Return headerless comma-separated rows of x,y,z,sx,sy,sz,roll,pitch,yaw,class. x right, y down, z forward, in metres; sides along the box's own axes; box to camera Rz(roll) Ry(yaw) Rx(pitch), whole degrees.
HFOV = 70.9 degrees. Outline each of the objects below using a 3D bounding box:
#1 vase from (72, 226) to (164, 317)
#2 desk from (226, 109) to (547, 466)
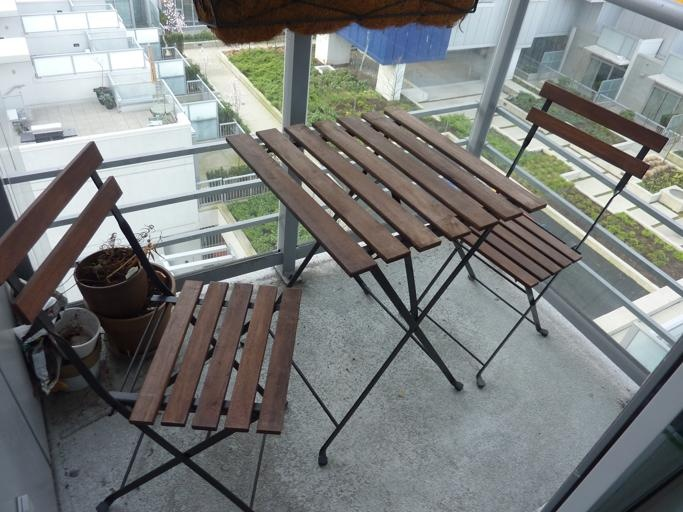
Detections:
-1.253,0.103,2.662,0.264,0.361,0.381,31,50,29,vase
0.308,-0.085,3.478,1.724,1.986,2.256,-21,50,-18,desk
